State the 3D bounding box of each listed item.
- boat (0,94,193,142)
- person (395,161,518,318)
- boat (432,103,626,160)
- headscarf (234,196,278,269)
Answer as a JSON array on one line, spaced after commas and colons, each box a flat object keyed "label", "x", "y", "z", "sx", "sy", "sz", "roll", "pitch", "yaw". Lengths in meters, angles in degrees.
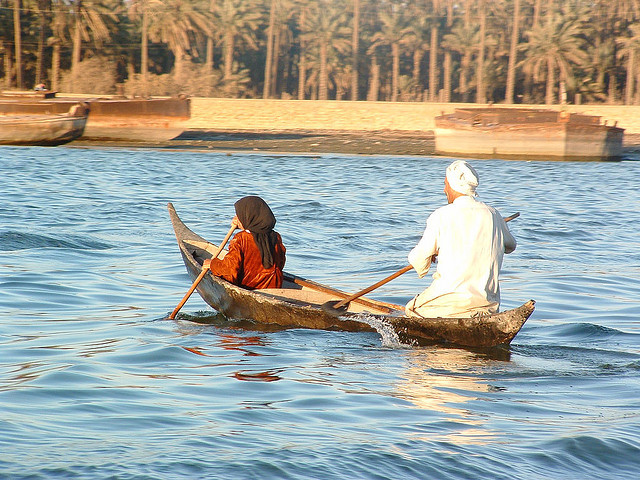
[{"label": "boat", "x": -6.705, "y": -4.522, "z": 44.568, "sx": 10.389, "sy": 1.440, "sz": 1.703, "roll": 0, "pitch": 10, "yaw": -9}, {"label": "person", "x": 2.177, "y": 0.026, "z": 18.209, "sx": 1.567, "sy": 2.424, "sz": 0.456, "roll": 2, "pitch": 8, "yaw": 4}, {"label": "boat", "x": 7.795, "y": -3.995, "z": 44.487, "sx": 6.243, "sy": 0.918, "sz": 2.829, "roll": 2, "pitch": 0, "yaw": 7}, {"label": "headscarf", "x": -1.028, "y": -0.151, "z": 19.491, "sx": 0.873, "sy": 1.019, "sz": 0.804, "roll": -13, "pitch": 30, "yaw": -39}]
